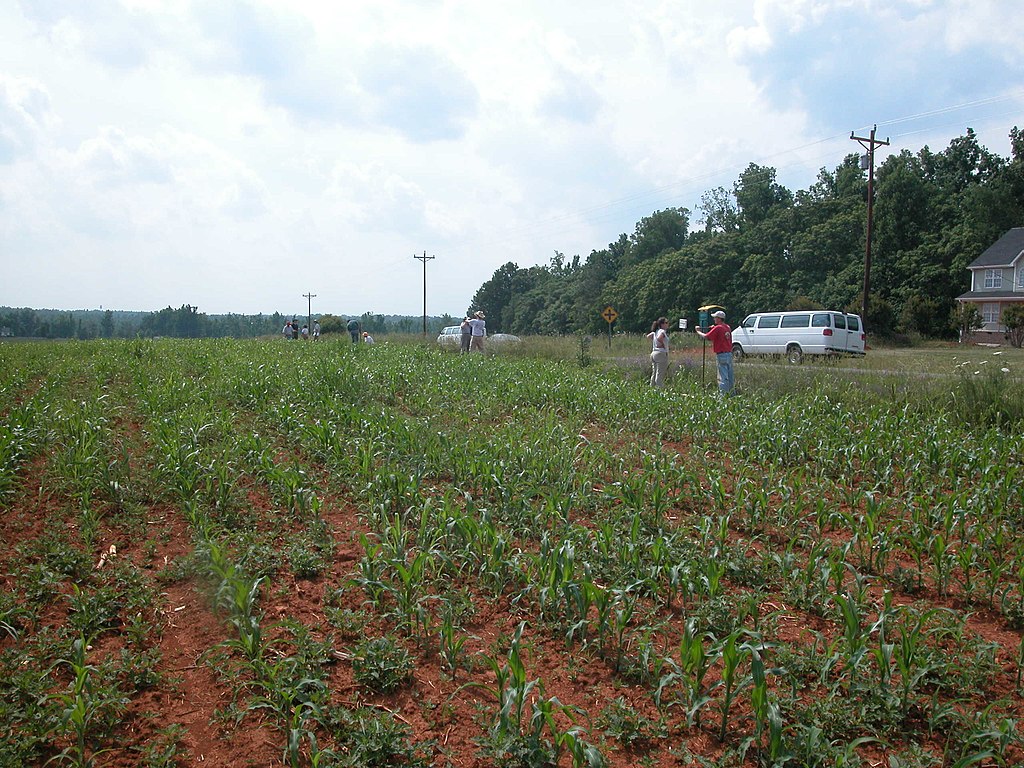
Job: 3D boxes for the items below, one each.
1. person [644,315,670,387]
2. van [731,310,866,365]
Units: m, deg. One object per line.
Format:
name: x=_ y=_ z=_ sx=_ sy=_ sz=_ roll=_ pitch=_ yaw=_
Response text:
person: x=3.225 y=-0.713 z=18.111 sx=0.323 sy=1.426 sz=1.603 roll=3 pitch=4 yaw=10
van: x=9.546 y=-1.655 z=28.236 sx=2.043 sy=2.163 sz=4.278 roll=-1 pitch=9 yaw=-30
